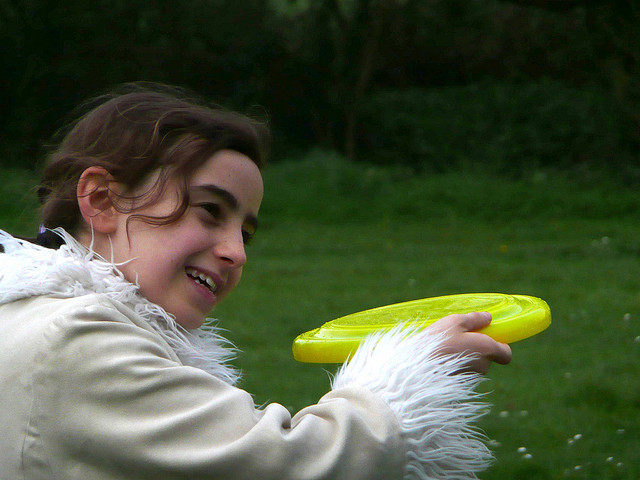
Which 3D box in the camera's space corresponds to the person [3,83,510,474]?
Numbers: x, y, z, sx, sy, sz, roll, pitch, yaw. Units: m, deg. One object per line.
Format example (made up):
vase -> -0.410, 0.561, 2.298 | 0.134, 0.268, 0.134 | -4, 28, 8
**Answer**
person -> -0.378, 0.149, 3.687 | 1.719, 1.469, 0.642 | 0, 6, -9
